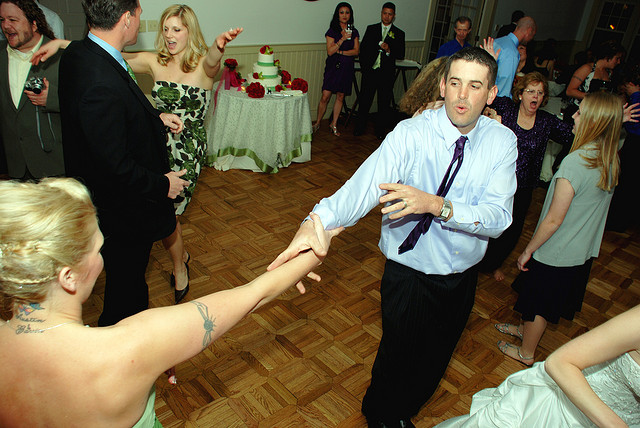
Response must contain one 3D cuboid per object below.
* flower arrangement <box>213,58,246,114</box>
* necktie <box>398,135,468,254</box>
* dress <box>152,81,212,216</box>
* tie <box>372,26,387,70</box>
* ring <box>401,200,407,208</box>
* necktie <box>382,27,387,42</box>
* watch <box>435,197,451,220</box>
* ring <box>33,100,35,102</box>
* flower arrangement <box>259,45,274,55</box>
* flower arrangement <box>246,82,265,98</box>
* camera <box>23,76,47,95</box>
[{"bbox_3d":[-1.104,-1.652,5.208,0.399,0.617,0.318,-12,24,-42],"label":"flower arrangement"},{"bbox_3d":[0.553,-0.111,1.987,0.033,0.627,0.083,29,0,40],"label":"necktie"},{"bbox_3d":[-1.290,-0.429,3.803,0.501,1.423,0.408,1,19,-8],"label":"dress"},{"bbox_3d":[0.885,-2.549,6.310,0.135,0.610,0.168,-3,24,-40],"label":"tie"},{"bbox_3d":[0.349,-0.040,1.717,0.019,0.032,0.013,-9,30,-18],"label":"ring"},{"bbox_3d":[0.981,-2.780,6.304,0.067,0.177,0.099,3,29,4],"label":"necktie"},{"bbox_3d":[0.554,-0.015,1.841,0.048,0.097,0.058,11,31,18],"label":"watch"},{"bbox_3d":[-1.998,-0.798,2.882,0.017,0.015,0.007,24,36,34],"label":"ring"},{"bbox_3d":[-0.690,-2.149,5.307,0.170,0.108,0.178,1,40,-6],"label":"flower arrangement"},{"bbox_3d":[-0.790,-1.522,5.025,0.211,0.153,0.173,-9,32,-18],"label":"flower arrangement"},{"bbox_3d":[-1.975,-0.878,2.857,0.133,0.105,0.127,1,25,-28],"label":"camera"}]
